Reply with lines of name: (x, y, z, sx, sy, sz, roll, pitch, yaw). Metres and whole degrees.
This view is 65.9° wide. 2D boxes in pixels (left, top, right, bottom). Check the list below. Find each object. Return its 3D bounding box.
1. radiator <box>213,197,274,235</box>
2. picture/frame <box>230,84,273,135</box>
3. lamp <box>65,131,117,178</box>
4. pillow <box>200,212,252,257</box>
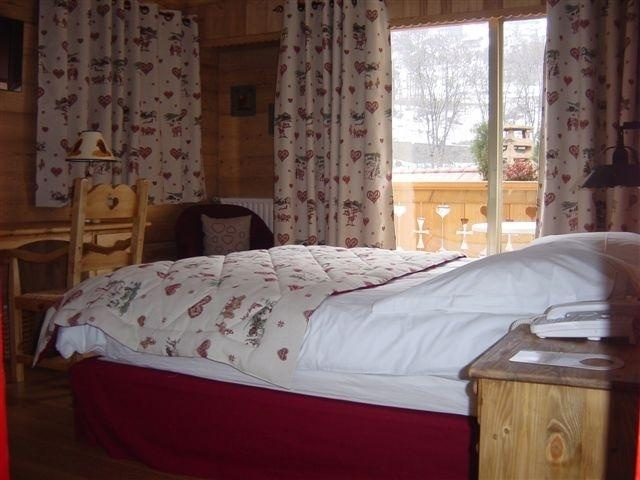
radiator: (-0.722, -0.218, 4.778, 0.395, 0.281, 0.030, 3, 8, 18)
picture/frame: (-0.793, -1.376, 5.203, 0.558, 0.499, 0.077, 2, 4, 14)
lamp: (-1.712, -0.671, 3.785, 0.370, 0.351, 0.406, -1, 2, -36)
pillow: (-0.845, -0.040, 4.375, 0.369, 0.342, 0.133, -6, -9, -19)
